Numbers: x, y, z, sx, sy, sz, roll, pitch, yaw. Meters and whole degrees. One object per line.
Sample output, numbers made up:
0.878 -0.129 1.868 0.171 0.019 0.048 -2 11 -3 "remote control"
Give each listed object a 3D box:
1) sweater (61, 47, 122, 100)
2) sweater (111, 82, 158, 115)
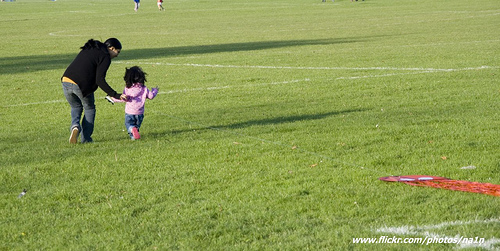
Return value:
-4.536 -1.525 14.808 1.577 1.416 0.674 1 19 13 "sweater"
-3.272 -0.807 15.142 0.956 0.975 0.235 -4 18 0 "sweater"
